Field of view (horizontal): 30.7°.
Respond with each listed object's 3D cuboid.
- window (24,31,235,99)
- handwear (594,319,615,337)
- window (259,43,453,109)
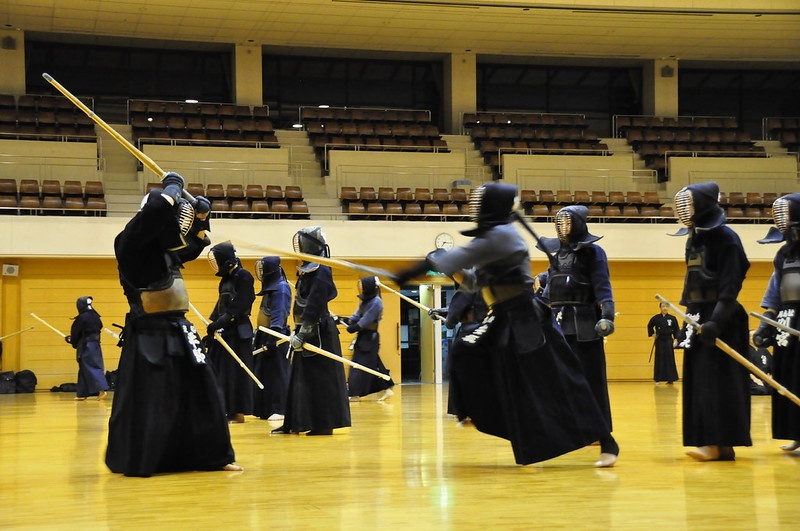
[{"bbox_3d":[-7.953,-5.622,41.730,0.181,1.559,8.721,16,13,28],"label":"window"},{"bbox_3d":[3.784,1.131,26.851,0.325,0.297,0.186,-3,1,21],"label":"handwear"},{"bbox_3d":[-2.160,-5.477,42.832,8.059,1.854,0.196,-3,16,-31],"label":"window"}]
